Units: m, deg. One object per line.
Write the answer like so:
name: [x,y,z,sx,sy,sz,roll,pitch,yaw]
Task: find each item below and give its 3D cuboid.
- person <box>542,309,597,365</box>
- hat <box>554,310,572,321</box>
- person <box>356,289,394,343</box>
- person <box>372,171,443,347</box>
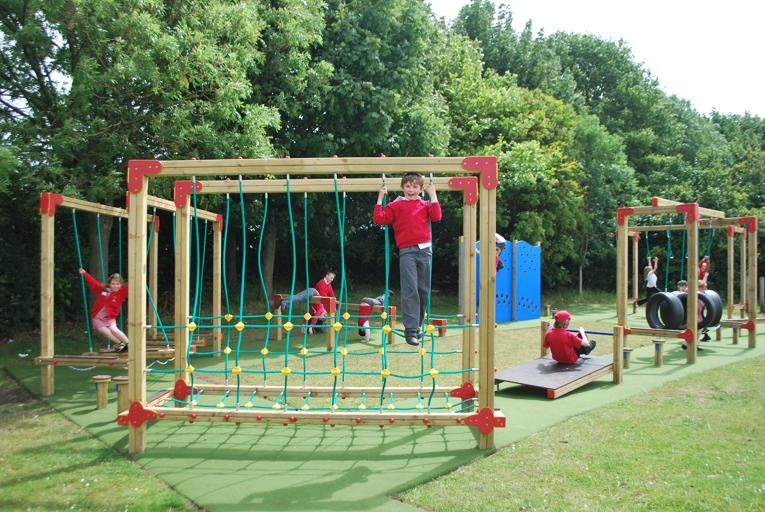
person: [3.894,1.634,16.675,0.976,1.075,1.607,0,6,30]
hat: [3.702,1.226,16.158,0.323,0.147,0.232,-4,8,-37]
person: [-0.170,1.478,18.997,0.663,0.326,1.386,8,15,5]
person: [0.508,0.039,14.055,1.061,2.984,0.403,-2,-3,2]
